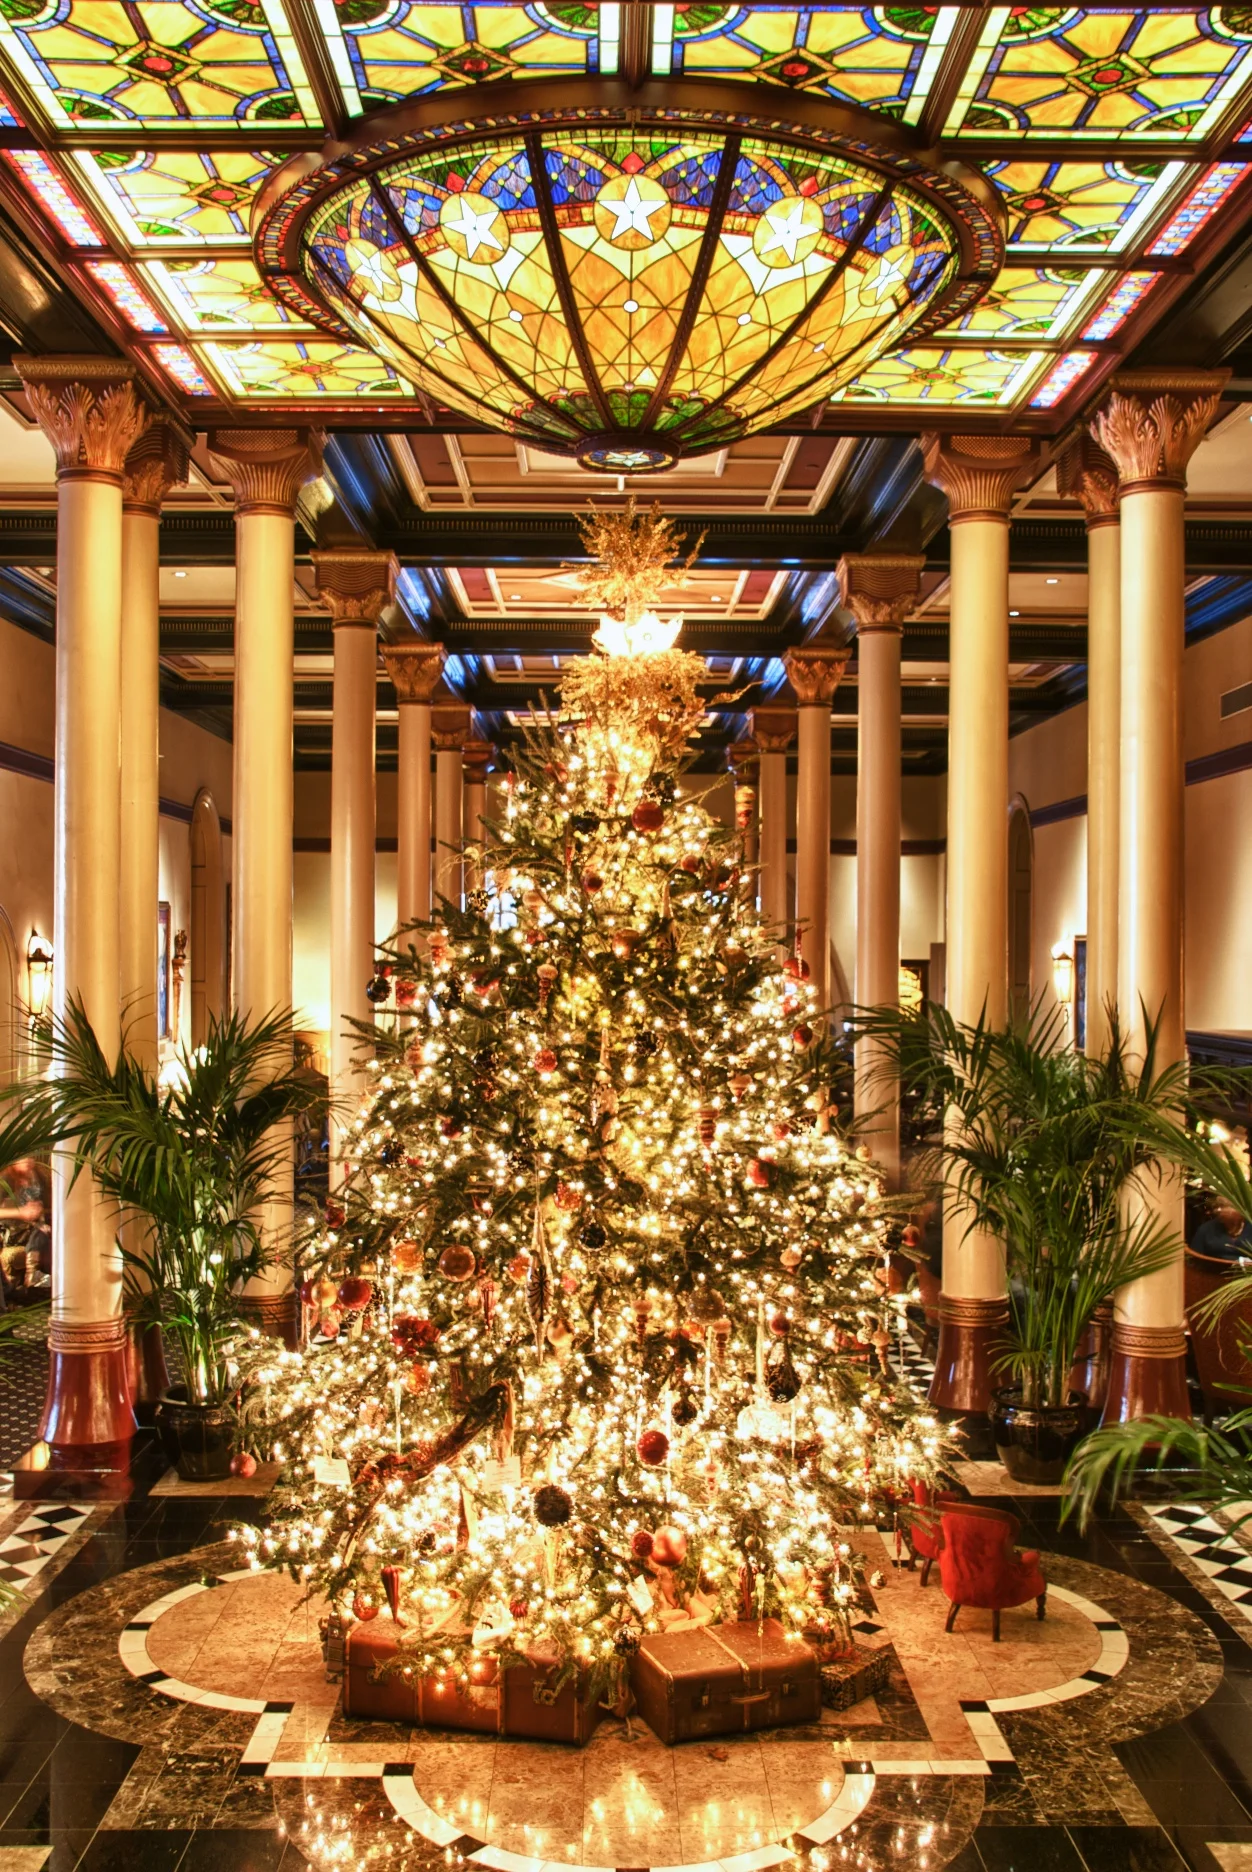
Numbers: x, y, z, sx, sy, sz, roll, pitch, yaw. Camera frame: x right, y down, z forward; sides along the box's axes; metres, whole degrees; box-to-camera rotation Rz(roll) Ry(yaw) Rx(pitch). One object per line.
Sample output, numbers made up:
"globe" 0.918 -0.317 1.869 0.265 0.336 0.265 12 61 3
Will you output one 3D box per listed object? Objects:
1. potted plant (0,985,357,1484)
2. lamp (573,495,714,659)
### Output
"potted plant" -2.344 1.495 6.625 1.201 2.609 1.757 22 27 -9
"lamp" 0.063 -2.102 7.247 0.588 0.656 0.509 -4 8 -18
